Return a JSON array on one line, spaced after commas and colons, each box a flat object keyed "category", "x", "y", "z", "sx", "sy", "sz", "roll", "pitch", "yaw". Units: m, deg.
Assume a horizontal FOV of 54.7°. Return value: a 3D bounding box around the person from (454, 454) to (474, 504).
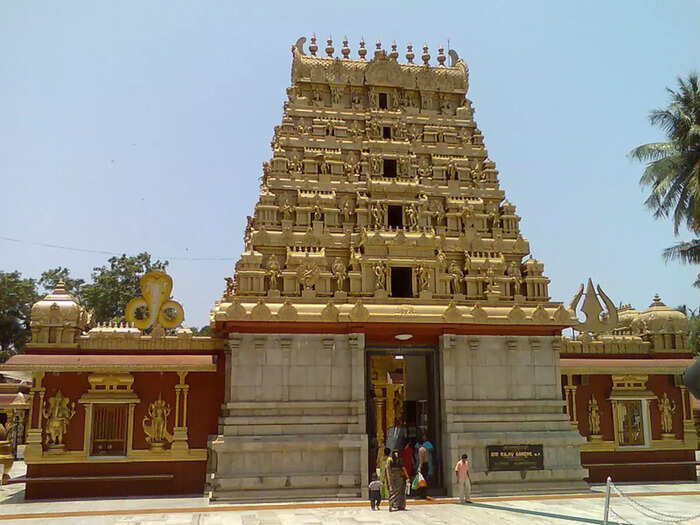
[{"category": "person", "x": 3.540, "y": 6.741, "z": 21.236, "sx": 0.479, "sy": 1.492, "sz": 1.186, "roll": -3, "pitch": -19, "yaw": 8}]
